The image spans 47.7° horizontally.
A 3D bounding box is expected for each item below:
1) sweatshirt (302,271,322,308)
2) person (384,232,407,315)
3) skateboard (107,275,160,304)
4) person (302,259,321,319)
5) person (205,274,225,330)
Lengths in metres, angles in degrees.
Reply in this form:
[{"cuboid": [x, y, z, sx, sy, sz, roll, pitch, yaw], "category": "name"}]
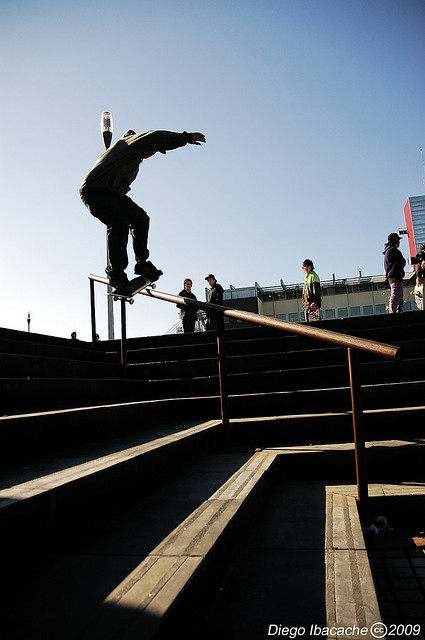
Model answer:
[{"cuboid": [1.779, -0.542, 8.596, 0.292, 0.578, 0.458, -3, -1, 12], "category": "sweatshirt"}, {"cuboid": [3.149, -0.801, 8.262, 0.320, 1.371, 0.606, -3, -1, 21], "category": "person"}, {"cuboid": [-0.708, -0.304, 4.318, 0.415, 0.166, 0.301, -3, -1, -1], "category": "skateboard"}, {"cuboid": [1.771, -0.553, 8.562, 0.265, 0.933, 0.872, -3, -1, 11], "category": "person"}, {"cuboid": [0.023, -0.245, 6.815, 0.259, 0.344, 0.996, 6, 34, -4], "category": "person"}]
